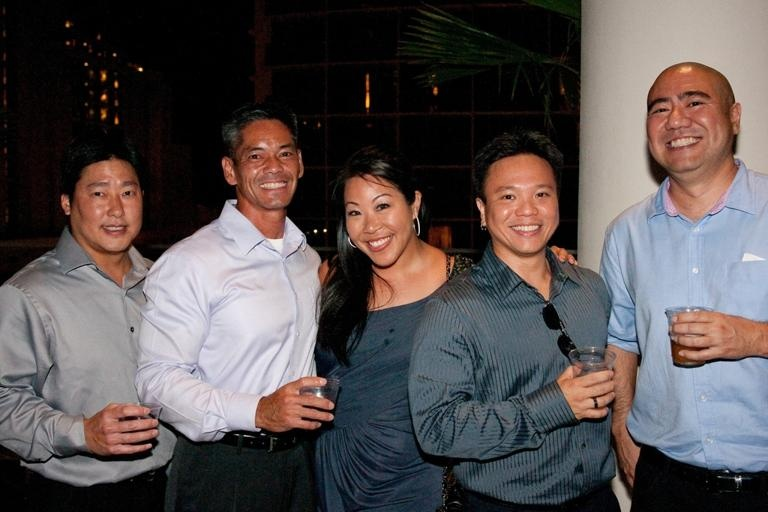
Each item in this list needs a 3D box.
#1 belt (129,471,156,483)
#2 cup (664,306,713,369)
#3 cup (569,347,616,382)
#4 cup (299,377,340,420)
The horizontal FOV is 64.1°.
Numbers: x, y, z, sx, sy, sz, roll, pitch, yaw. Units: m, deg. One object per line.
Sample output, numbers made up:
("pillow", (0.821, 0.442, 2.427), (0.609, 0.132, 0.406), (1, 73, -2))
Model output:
("belt", (-1.407, 1.262, 3.529), (0.101, 0.021, 0.090), (-1, -1, -2))
("cup", (1.617, 0.445, 3.286), (0.209, 0.364, 0.211), (-1, 11, 0))
("cup", (1.072, 0.527, 3.118), (0.243, 0.132, 0.190), (-2, 10, -6))
("cup", (-0.357, 0.772, 3.349), (0.193, 0.149, 0.204), (0, -14, 0))
